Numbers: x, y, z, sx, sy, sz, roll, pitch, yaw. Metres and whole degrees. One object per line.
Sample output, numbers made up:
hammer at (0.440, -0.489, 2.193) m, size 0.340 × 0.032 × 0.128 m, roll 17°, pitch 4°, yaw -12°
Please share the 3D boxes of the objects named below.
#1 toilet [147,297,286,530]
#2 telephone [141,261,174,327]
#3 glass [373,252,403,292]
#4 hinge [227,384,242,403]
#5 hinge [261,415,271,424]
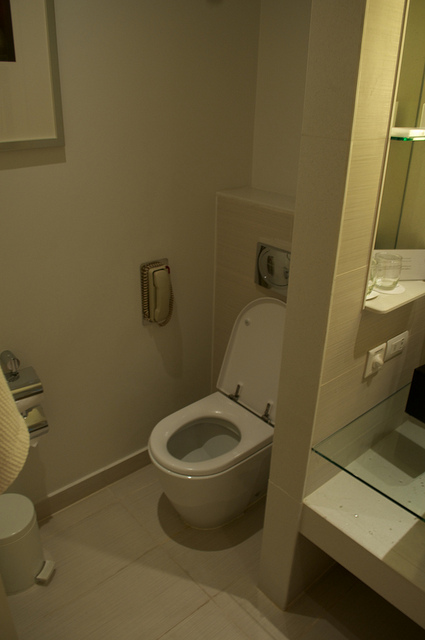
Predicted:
toilet at (0.022, 0.402, 1.766) m, size 0.581 × 0.892 × 0.388 m, roll -20°, pitch 31°, yaw -41°
telephone at (-0.228, -0.112, 1.839) m, size 0.162 × 0.321 × 0.078 m, roll -19°, pitch 32°, yaw -36°
glass at (0.473, -0.122, 1.185) m, size 0.100 × 0.099 × 0.068 m, roll 6°, pitch 5°, yaw 26°
hinge at (0.094, 0.315, 1.941) m, size 0.030 × 0.081 × 0.040 m, roll 36°, pitch 31°, yaw 27°
hinge at (0.210, 0.392, 1.798) m, size 0.006 × 0.018 × 0.024 m, roll 12°, pitch 32°, yaw -50°
